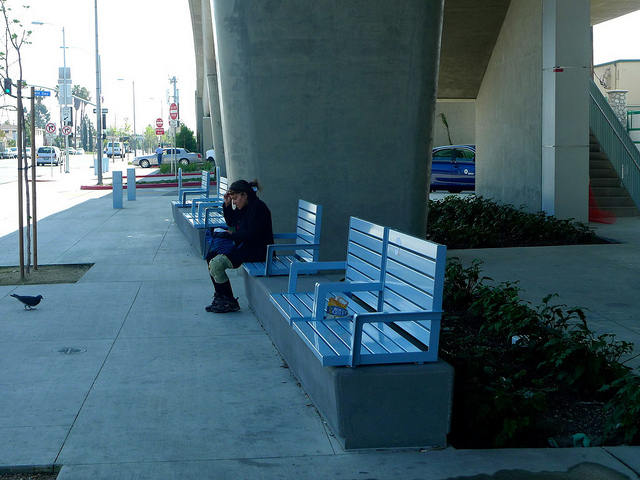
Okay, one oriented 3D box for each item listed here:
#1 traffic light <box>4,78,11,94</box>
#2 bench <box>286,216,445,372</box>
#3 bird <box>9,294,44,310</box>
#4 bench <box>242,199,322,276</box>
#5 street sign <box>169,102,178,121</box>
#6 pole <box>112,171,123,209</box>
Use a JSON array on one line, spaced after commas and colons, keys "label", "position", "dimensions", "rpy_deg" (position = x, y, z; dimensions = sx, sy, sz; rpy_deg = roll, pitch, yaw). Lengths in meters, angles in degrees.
[{"label": "traffic light", "position": [-5.291, -2.625, 8.714], "dimensions": [0.104, 0.282, 0.258], "rpy_deg": [-8, 12, -36]}, {"label": "bench", "position": [0.317, 0.448, 4.196], "dimensions": [0.599, 0.555, 1.425], "rpy_deg": [-1, 9, -13]}, {"label": "bird", "position": [-3.633, 0.765, 6.399], "dimensions": [0.286, 0.245, 0.302], "rpy_deg": [-6, 11, -25]}, {"label": "bench", "position": [-0.539, -0.042, 6.304], "dimensions": [0.888, 0.832, 1.068], "rpy_deg": [-3, 8, -14]}, {"label": "street sign", "position": [-7.488, -6.608, 26.179], "dimensions": [0.288, 0.768, 1.502], "rpy_deg": [-5, 10, -19]}, {"label": "pole", "position": [-7.191, -1.806, 18.187], "dimensions": [0.340, 1.269, 0.701], "rpy_deg": [-5, 10, -22]}]
